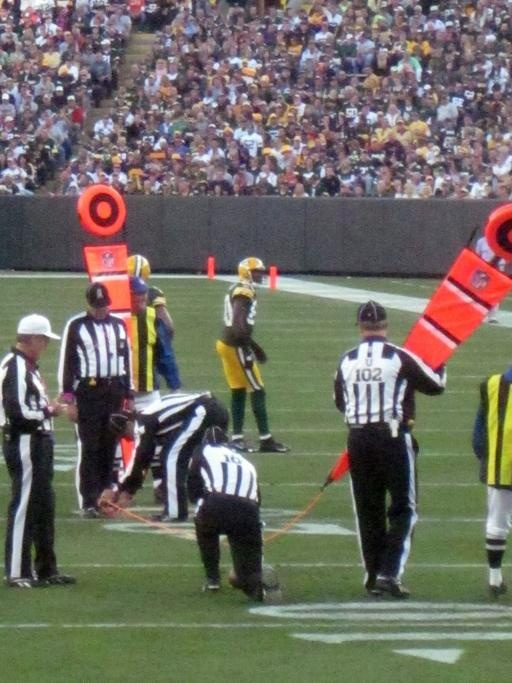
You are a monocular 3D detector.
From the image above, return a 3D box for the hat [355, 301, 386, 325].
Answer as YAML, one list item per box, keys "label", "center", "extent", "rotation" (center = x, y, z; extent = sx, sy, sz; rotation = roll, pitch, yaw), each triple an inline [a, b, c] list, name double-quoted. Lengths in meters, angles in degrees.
- label: "hat"
  center: [0.862, -0.206, 15.791]
  extent: [0.136, 0.130, 0.218]
  rotation: [-1, 15, 2]

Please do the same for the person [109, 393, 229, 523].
- label: "person"
  center: [-0.790, 0.897, 17.765]
  extent: [0.937, 0.970, 0.864]
  rotation: [-1, 7, -30]

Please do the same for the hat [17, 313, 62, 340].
- label: "hat"
  center: [-1.659, -0.103, 15.921]
  extent: [0.266, 0.163, 0.191]
  rotation: [1, 6, -5]

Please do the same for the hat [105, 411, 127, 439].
- label: "hat"
  center: [-1.151, 0.696, 17.525]
  extent: [0.150, 0.199, 0.148]
  rotation: [-4, 8, -27]

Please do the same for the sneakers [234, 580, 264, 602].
- label: "sneakers"
  center: [-0.017, 1.878, 15.556]
  extent: [0.140, 0.076, 0.194]
  rotation: [15, -29, 10]

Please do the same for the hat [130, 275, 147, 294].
- label: "hat"
  center: [-1.040, -0.492, 18.504]
  extent: [0.155, 0.084, 0.109]
  rotation: [47, 40, 17]

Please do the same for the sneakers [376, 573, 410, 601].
- label: "sneakers"
  center: [0.996, 1.821, 15.619]
  extent: [0.316, 0.150, 0.116]
  rotation: [21, 1, -9]

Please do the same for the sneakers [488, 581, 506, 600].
- label: "sneakers"
  center: [1.802, 1.859, 15.689]
  extent: [0.090, 0.104, 0.119]
  rotation: [-1, -21, 5]

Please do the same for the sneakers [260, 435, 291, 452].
- label: "sneakers"
  center: [0.204, 0.988, 20.286]
  extent: [0.339, 0.243, 0.117]
  rotation: [-2, 6, 1]

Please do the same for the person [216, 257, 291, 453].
- label: "person"
  center: [-0.072, 0.164, 20.112]
  extent: [0.596, 1.862, 0.493]
  rotation: [-1, 7, 0]

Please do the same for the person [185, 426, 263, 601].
- label: "person"
  center: [-0.220, 1.300, 15.619]
  extent: [0.438, 1.224, 0.641]
  rotation: [-7, 9, -41]

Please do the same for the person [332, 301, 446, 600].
- label: "person"
  center: [0.961, 0.812, 15.655]
  extent: [0.750, 2.152, 0.433]
  rotation: [0, 7, 8]

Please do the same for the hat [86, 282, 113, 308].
- label: "hat"
  center: [-1.327, -0.405, 17.526]
  extent: [0.150, 0.133, 0.223]
  rotation: [-15, 50, -17]

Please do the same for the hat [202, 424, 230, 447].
- label: "hat"
  center: [-0.295, 0.722, 15.876]
  extent: [0.119, 0.165, 0.160]
  rotation: [2, -9, -12]

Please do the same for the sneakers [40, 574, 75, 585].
- label: "sneakers"
  center: [-1.501, 1.806, 15.868]
  extent: [0.171, 0.058, 0.107]
  rotation: [-1, -4, -3]

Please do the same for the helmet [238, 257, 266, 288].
- label: "helmet"
  center: [-0.043, -0.656, 20.255]
  extent: [0.302, 0.306, 0.260]
  rotation: [-1, 4, 2]
